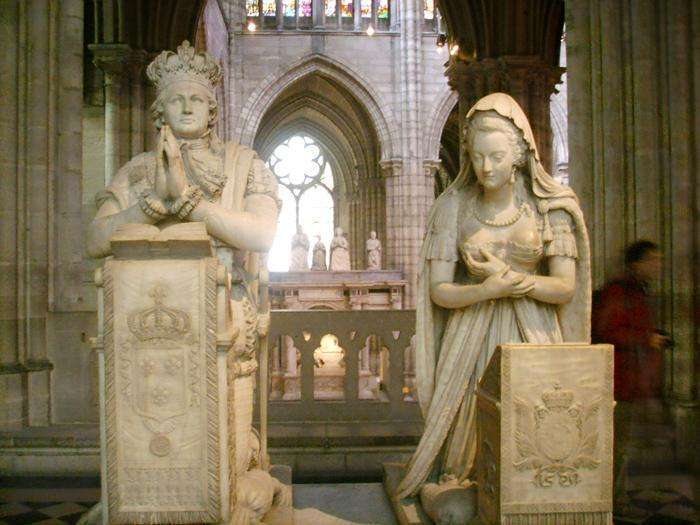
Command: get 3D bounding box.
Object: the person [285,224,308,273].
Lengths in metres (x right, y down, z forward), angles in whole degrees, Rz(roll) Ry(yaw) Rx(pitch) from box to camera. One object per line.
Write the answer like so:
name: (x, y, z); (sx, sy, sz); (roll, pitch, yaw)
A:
person: (-1.037, -0.315, 25.780); (0.355, 0.923, 0.941); (-1, -2, -3)

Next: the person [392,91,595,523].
person: (1.123, 0.293, 10.095); (1.498, 3.222, 0.558); (-1, -2, 1)

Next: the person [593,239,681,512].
person: (2.295, 0.936, 11.043); (0.728, 2.320, 1.222); (-2, -2, 28)

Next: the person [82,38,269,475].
person: (-1.188, -0.306, 9.801); (1.320, 2.764, 0.587); (-1, -2, -12)

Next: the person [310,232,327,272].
person: (-0.645, -0.215, 25.701); (0.281, 0.712, 0.749); (-1, -2, -3)
